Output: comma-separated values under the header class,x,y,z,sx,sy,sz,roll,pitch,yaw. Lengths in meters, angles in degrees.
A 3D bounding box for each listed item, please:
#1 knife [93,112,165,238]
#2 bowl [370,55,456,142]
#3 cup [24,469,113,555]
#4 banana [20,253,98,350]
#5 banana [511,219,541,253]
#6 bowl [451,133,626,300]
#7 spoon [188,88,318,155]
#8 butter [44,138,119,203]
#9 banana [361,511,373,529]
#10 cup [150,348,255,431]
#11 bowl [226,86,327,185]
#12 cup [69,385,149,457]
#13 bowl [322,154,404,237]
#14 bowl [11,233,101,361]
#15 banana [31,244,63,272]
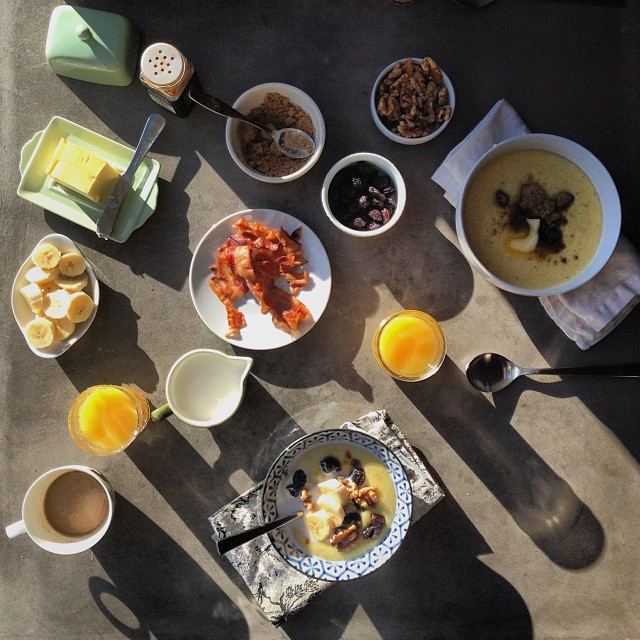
class,x,y,z,sx,sy,sz,roll,pitch,yaw
knife,-0.531,-0.392,1.819,0.048,0.038,0.372,21,84,-17
bowl,0.207,-0.630,1.857,0.290,0.295,0.146,-14,107,19
cup,-0.693,0.522,1.784,0.194,0.110,0.205,0,83,3
banana,-0.725,-0.058,1.802,0.194,0.069,0.227,-17,82,1
banana,0.526,-0.217,1.643,0.050,0.030,0.089,16,101,9
bowl,0.540,-0.257,1.621,0.381,0.121,0.394,0,83,3
spoon,-0.171,-0.549,1.776,0.397,0.055,0.084,24,91,-17
butter,-0.662,-0.410,1.794,0.171,0.070,0.108,27,85,6
banana,0.121,0.527,1.716,0.033,0.009,0.036,-11,84,2
cup,-0.335,0.192,1.782,0.286,0.155,0.226,9,83,5
bowl,-0.120,-0.494,1.746,0.257,0.110,0.251,0,83,3
cup,-0.621,0.272,1.895,0.212,0.237,0.186,2,85,-3
bowl,0.115,-0.337,1.751,0.202,0.095,0.220,0,101,1
bowl,-0.726,-0.071,1.820,0.244,0.097,0.339,17,96,-4
banana,-0.751,-0.174,1.779,0.076,0.046,0.070,-35,82,-1
